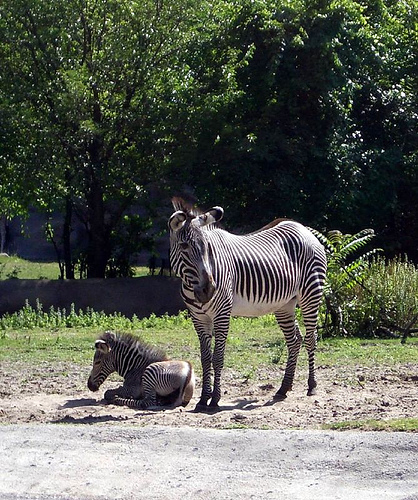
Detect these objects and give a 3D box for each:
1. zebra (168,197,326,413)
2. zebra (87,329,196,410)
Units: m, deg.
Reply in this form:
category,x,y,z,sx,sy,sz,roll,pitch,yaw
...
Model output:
category,x,y,z,sx,sy,sz,roll,pitch,yaw
zebra,0.323,0.715,12.299,1.123,2.401,2.889,-2,-2,42
zebra,-0.747,1.456,12.030,1.408,0.877,0.625,7,1,26
